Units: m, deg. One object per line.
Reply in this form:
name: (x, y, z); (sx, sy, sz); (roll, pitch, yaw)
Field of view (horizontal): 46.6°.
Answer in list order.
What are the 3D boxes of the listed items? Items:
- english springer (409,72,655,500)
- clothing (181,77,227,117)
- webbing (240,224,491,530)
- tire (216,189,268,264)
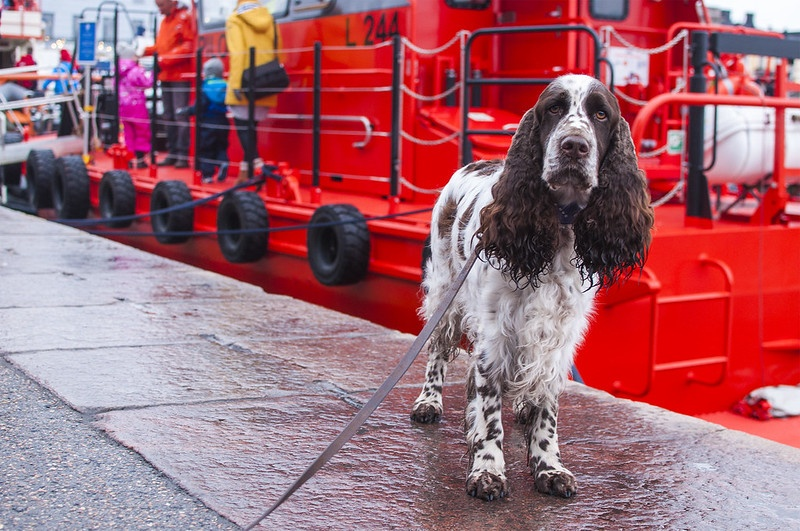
english springer: (0.597, 0.049, 5.245); (0.797, 2.125, 2.000); (0, 7, -18)
clothing: (-2.391, -2.065, 11.418); (0.608, 0.362, 0.218); (-4, 41, -6)
webbing: (-0.173, 0.665, 5.578); (0.203, 0.173, 1.839); (19, 65, 43)
tire: (-1.634, -0.399, 9.692); (0.193, 0.684, 0.614); (-3, 11, -31)
